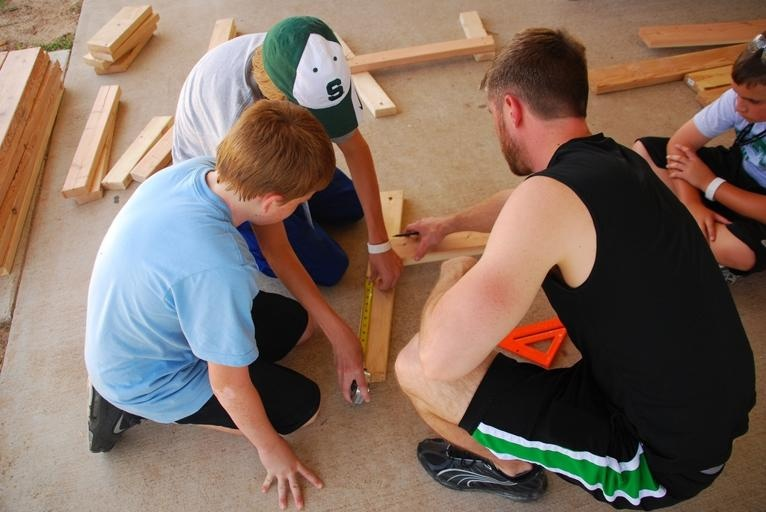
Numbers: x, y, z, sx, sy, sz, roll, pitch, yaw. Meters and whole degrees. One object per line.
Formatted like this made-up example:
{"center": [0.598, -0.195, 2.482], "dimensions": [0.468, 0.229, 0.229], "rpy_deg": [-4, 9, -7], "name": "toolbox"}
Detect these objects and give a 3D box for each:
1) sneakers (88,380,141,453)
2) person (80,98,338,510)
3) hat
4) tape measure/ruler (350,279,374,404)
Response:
{"center": [-1.211, 0.787, 3.152], "dimensions": [0.288, 0.462, 0.285], "rpy_deg": [0, 80, 4], "name": "sneakers"}
{"center": [-0.751, 0.312, 2.975], "dimensions": [0.982, 1.671, 1.185], "rpy_deg": [-7, 54, -32], "name": "person"}
{"center": [-0.294, -0.806, 2.996], "dimensions": [0.355, 0.555, 0.199], "rpy_deg": [-39, 24, -22], "name": "hat"}
{"center": [-0.093, 0.424, 3.496], "dimensions": [0.054, 0.464, 0.184], "rpy_deg": [3, -7, 26], "name": "tape measure/ruler"}
